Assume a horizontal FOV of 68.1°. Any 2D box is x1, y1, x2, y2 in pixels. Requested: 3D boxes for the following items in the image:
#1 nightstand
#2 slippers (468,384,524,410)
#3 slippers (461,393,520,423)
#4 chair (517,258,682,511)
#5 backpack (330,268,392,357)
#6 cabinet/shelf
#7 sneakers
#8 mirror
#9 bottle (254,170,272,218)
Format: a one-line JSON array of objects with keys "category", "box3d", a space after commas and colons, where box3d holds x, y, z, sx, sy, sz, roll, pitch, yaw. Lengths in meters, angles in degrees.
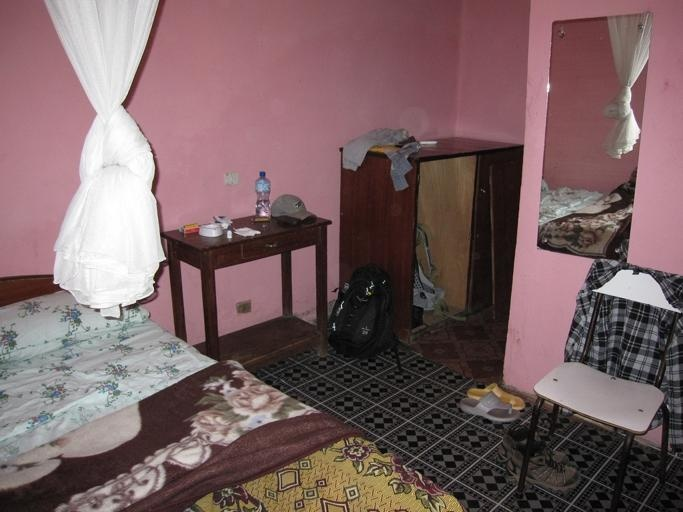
[{"category": "nightstand", "box3d": [-0.713, 0.269, 3.655, 0.501, 0.921, 1.001, 19, 28, 41]}, {"category": "slippers", "box3d": [1.072, 0.961, 3.487, 0.319, 0.098, 0.158, 8, 16, 34]}, {"category": "slippers", "box3d": [0.998, 0.972, 3.358, 0.315, 0.114, 0.179, 5, 16, 27]}, {"category": "chair", "box3d": [1.444, 0.706, 2.727, 0.635, 1.147, 0.843, 11, 22, 36]}, {"category": "backpack", "box3d": [0.168, 0.421, 3.951, 0.536, 0.602, 0.411, 14, 17, 32]}, {"category": "cabinet/shelf", "box3d": [0.717, -0.127, 4.203, 1.625, 1.431, 0.831, -14, 20, -41]}, {"category": "sneakers", "box3d": [1.131, 1.151, 2.858, 0.355, 0.156, 0.223, 12, 33, 25]}, {"category": "mirror", "box3d": [1.496, -0.639, 3.035, 0.662, 1.494, 0.021, -8, 21, -7]}, {"category": "bottle", "box3d": [-0.586, -0.463, 3.800, 0.137, 0.321, 0.392, -5, 17, -8]}]
